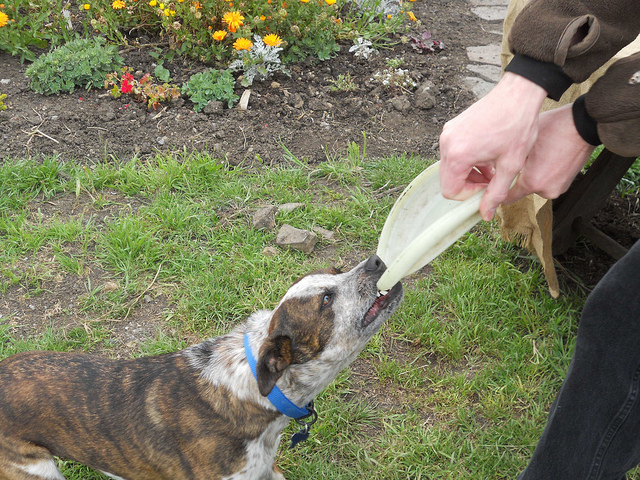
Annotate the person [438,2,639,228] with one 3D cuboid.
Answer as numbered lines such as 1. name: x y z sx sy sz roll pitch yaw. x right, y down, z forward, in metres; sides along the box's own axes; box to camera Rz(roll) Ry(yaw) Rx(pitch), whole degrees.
1. person: 1.042 -0.609 2.669 0.953 0.914 0.567 1 33 -4

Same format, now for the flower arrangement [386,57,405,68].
1. flower arrangement: 0.791 -1.899 6.008 0.186 0.100 0.161 -1 -3 8

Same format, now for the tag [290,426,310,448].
1. tag: -0.131 1.146 3.335 0.085 0.144 0.035 23 36 -40

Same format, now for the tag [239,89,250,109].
1. tag: -0.741 -1.377 5.585 0.067 0.053 0.213 -1 58 31
